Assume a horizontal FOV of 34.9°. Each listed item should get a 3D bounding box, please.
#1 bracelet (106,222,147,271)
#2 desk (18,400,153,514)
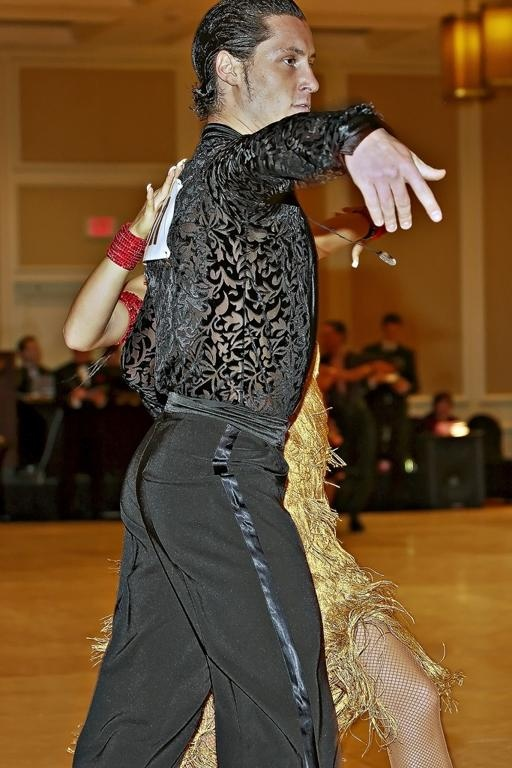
[{"bbox_3d":[-0.181,-0.199,1.208,0.059,0.059,0.067,27,-2,-1],"label":"bracelet"},{"bbox_3d":[-1.379,0.504,6.338,1.286,0.988,0.609,1,17,0],"label":"desk"}]
